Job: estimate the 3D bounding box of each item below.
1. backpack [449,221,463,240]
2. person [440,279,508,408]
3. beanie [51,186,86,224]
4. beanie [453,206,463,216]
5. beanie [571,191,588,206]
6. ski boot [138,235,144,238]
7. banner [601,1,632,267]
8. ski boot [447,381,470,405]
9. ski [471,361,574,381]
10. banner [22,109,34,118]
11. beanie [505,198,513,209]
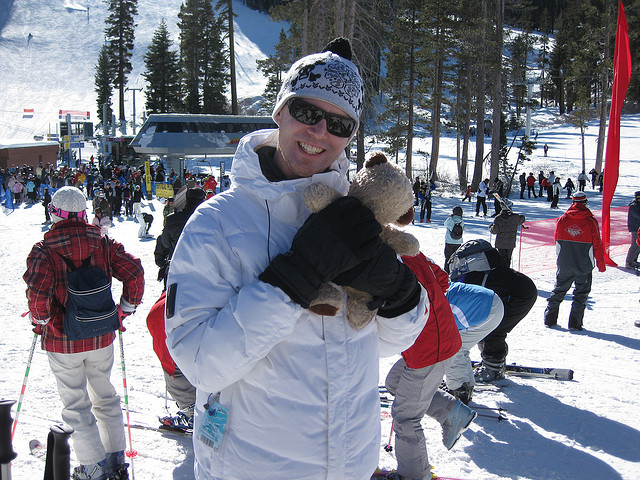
[{"bbox_3d":[3.026,-0.223,16.617,0.306,0.433,0.225,12,10,15],"label":"backpack"},{"bbox_3d":[2.092,1.397,10.087,1.145,1.645,0.938,-3,17,-33],"label":"person"},{"bbox_3d":[-3.039,-0.470,9.039,0.351,0.460,0.454,-2,31,-31],"label":"beanie"},{"bbox_3d":[3.067,-0.638,16.492,0.185,0.226,0.242,2,15,1],"label":"beanie"},{"bbox_3d":[4.715,-0.728,13.395,0.248,0.264,0.312,5,15,18],"label":"beanie"},{"bbox_3d":[-5.243,-0.115,21.481,0.202,0.055,0.094,4,9,9],"label":"ski boot"},{"bbox_3d":[6.014,-2.038,14.901,0.426,5.680,3.643,5,9,20],"label":"banner"},{"bbox_3d":[1.989,2.116,10.291,0.325,0.279,0.246,-18,9,-41],"label":"ski boot"},{"bbox_3d":[3.032,2.002,11.199,2.108,0.229,0.298,2,-10,3],"label":"ski"},{"bbox_3d":[-36.668,-15.934,92.744,1.193,1.017,14.622,-1,10,-22],"label":"banner"},{"bbox_3d":[4.020,-0.764,15.646,0.183,0.086,0.241,6,24,6],"label":"beanie"}]
